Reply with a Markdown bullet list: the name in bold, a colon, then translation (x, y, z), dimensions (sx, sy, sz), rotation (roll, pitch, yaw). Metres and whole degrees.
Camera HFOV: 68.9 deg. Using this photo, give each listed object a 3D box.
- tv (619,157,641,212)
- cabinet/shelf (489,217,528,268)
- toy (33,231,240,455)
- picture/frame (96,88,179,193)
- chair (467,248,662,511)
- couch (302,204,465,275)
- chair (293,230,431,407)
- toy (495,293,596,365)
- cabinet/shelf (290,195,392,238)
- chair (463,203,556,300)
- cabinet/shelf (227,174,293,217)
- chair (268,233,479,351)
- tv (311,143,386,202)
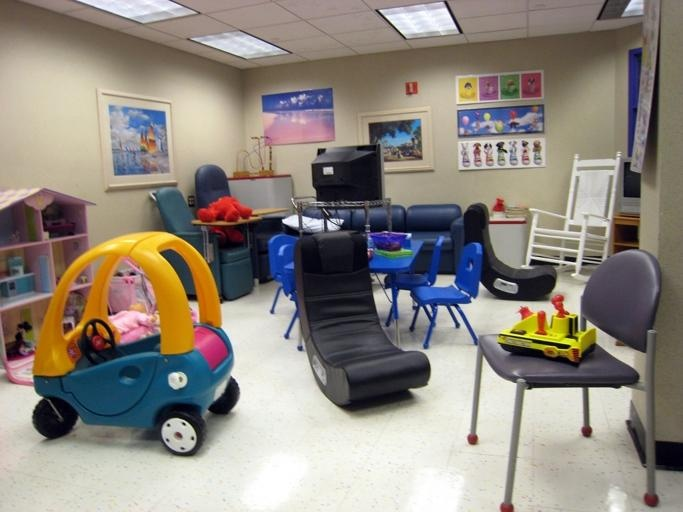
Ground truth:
- **tv**: translation (3.334, -0.820, 5.797), dimensions (0.150, 0.591, 0.524), rotation (0, 15, 15)
- **cabinet/shelf**: translation (2.267, -0.124, 6.782), dimensions (0.437, 0.882, 0.499), rotation (4, 21, 24)
- **toy**: translation (-1.287, 0.501, 3.177), dimensions (1.145, 1.234, 0.863), rotation (3, 7, 9)
- **picture/frame**: translation (-2.373, -1.340, 5.910), dimensions (1.008, 0.991, 0.023), rotation (5, 9, 25)
- **chair**: translation (1.251, 0.550, 3.184), dimensions (1.091, 1.782, 1.146), rotation (-1, 3, -4)
- **couch**: translation (0.535, -0.267, 6.796), dimensions (2.262, 0.850, 0.793), rotation (-1, 9, 7)
- **chair**: translation (0.107, 0.438, 3.565), dimensions (0.594, 0.970, 1.140), rotation (-4, 17, -21)
- **toy**: translation (1.067, 0.375, 2.622), dimensions (0.411, 0.305, 0.393), rotation (3, 3, 44)
- **cabinet/shelf**: translation (-0.048, -0.365, 4.864), dimensions (0.713, 0.297, 0.569), rotation (1, 2, -6)
- **chair**: translation (1.749, -0.035, 5.849), dimensions (1.287, 1.411, 0.695), rotation (0, 7, 17)
- **cabinet/shelf**: translation (-1.228, -0.916, 7.319), dimensions (0.652, 0.574, 0.656), rotation (-14, 14, -16)
- **chair**: translation (0.031, 0.150, 4.405), dimensions (1.056, 0.688, 1.514), rotation (2, 8, 15)
- **tv**: translation (0.011, -0.766, 4.697), dimensions (0.687, 0.580, 0.360), rotation (5, 15, 34)
